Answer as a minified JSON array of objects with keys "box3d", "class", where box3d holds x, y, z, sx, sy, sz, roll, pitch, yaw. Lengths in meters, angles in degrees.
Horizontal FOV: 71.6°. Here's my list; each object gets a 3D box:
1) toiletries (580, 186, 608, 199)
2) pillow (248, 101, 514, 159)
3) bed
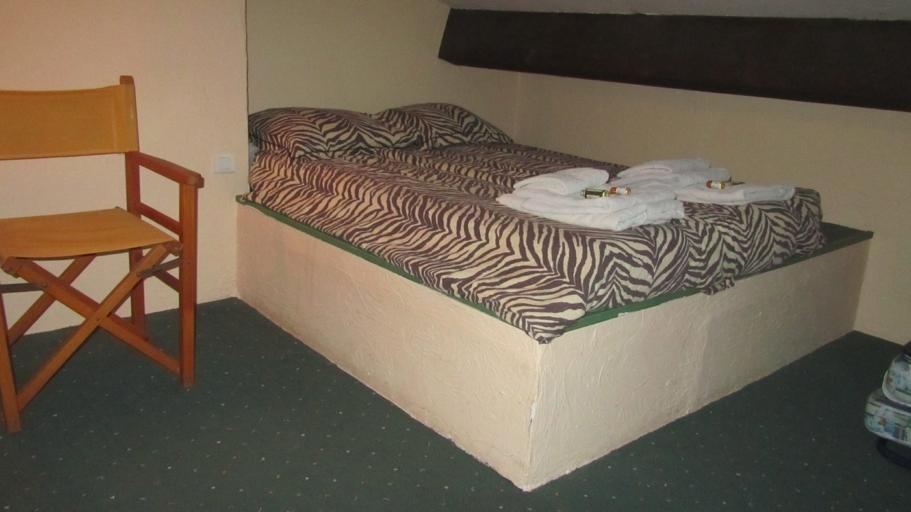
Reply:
[{"box3d":[0.733,-0.328,3.333,0.131,0.045,0.059,4,3,22],"class":"toiletries"},{"box3d":[-0.549,-0.861,4.339,1.226,0.183,0.680,-5,23,-32],"class":"pillow"},{"box3d":[0.929,0.025,3.310,1.998,0.452,2.078,-14,24,-38],"class":"bed"}]
